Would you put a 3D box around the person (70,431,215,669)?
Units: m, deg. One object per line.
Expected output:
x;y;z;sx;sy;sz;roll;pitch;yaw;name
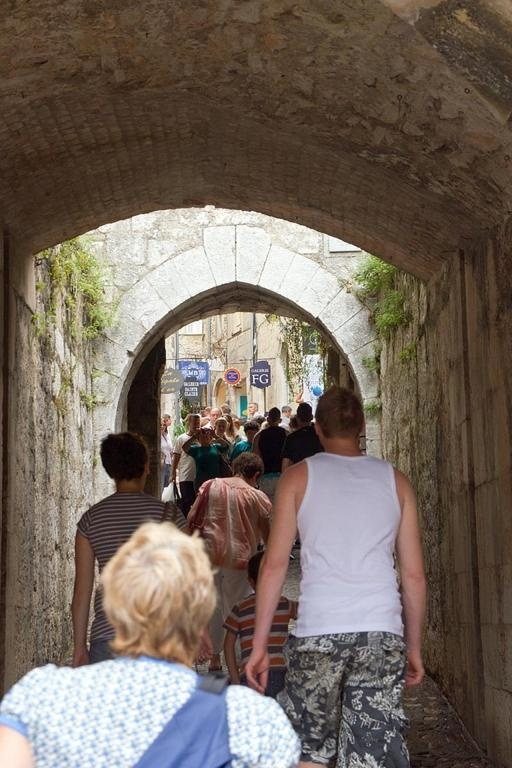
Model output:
-0.434;0.835;3.100;0.511;1.352;0.442;-2;-2;5;person

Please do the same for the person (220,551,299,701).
0.050;1.141;3.545;0.395;0.802;0.250;-3;10;-14;person
